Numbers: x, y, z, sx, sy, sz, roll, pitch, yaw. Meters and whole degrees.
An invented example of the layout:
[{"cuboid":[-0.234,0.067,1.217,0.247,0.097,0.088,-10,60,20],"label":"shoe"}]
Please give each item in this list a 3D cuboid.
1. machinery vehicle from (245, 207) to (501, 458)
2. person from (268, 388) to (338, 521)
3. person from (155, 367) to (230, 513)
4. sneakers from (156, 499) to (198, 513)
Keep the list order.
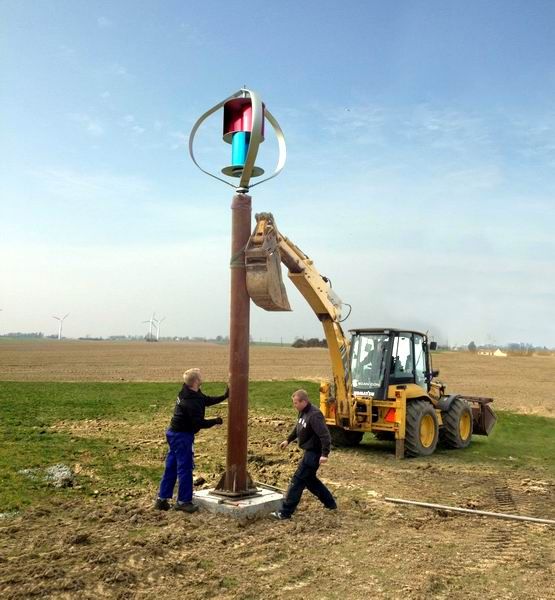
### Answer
[{"cuboid":[2.033,1.068,11.695,7.504,4.395,2.134,10,-12,-43],"label":"machinery vehicle"},{"cuboid":[0.387,1.952,7.045,0.772,1.567,0.867,2,-2,6],"label":"person"},{"cuboid":[-1.121,1.753,6.843,0.743,1.749,0.385,3,-2,-11],"label":"person"},{"cuboid":[-1.244,2.517,6.855,0.545,0.234,0.188,-1,-2,9],"label":"sneakers"}]
